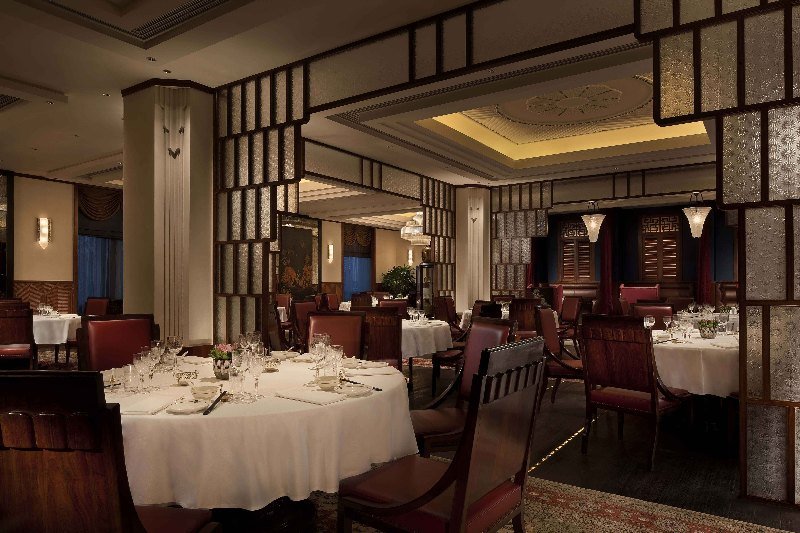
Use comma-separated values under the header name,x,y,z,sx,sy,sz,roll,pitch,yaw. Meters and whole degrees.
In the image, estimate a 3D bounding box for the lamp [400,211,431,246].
name,x,y,z,sx,sy,sz,roll,pitch,yaw
lamp,0.499,-0.927,15.711,0.921,0.908,0.924,3,-5,-27

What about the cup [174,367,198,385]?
name,x,y,z,sx,sy,sz,roll,pitch,yaw
cup,-1.479,0.760,4.118,0.143,0.092,0.147,1,-1,0

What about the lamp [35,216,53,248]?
name,x,y,z,sx,sy,sz,roll,pitch,yaw
lamp,-6.806,-0.659,11.245,0.119,0.591,0.301,-2,-2,18

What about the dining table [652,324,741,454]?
name,x,y,z,sx,sy,sz,roll,pitch,yaw
dining table,2.880,1.123,5.556,1.010,0.785,1.040,-2,-1,27

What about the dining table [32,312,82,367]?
name,x,y,z,sx,sy,sz,roll,pitch,yaw
dining table,-5.179,1.107,8.613,0.649,0.546,0.653,-12,-3,-29

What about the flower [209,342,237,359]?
name,x,y,z,sx,sy,sz,roll,pitch,yaw
flower,-1.276,0.591,4.246,0.136,0.079,0.133,0,-1,12

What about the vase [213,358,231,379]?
name,x,y,z,sx,sy,sz,roll,pitch,yaw
vase,-1.271,0.724,4.217,0.144,0.125,0.133,-1,-4,5

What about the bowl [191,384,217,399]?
name,x,y,z,sx,sy,sz,roll,pitch,yaw
bowl,-1.243,0.796,3.815,0.119,0.053,0.122,2,4,0

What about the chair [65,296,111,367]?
name,x,y,z,sx,sy,sz,roll,pitch,yaw
chair,-4.866,0.973,9.212,0.512,0.951,0.580,2,14,26

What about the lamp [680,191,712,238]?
name,x,y,z,sx,sy,sz,roll,pitch,yaw
lamp,5.347,-0.954,10.574,0.475,0.813,0.501,4,-8,-3

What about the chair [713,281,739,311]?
name,x,y,z,sx,sy,sz,roll,pitch,yaw
chair,4.819,0.430,8.661,0.353,0.353,0.354,5,-7,-30

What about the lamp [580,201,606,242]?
name,x,y,z,sx,sy,sz,roll,pitch,yaw
lamp,3.783,-0.905,11.459,0.463,0.791,0.453,-5,-12,39

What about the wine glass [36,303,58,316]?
name,x,y,z,sx,sy,sz,roll,pitch,yaw
wine glass,-6.004,0.713,9.980,0.240,0.254,0.147,0,3,-16

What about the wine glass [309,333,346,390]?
name,x,y,z,sx,sy,sz,roll,pitch,yaw
wine glass,-0.524,0.691,4.229,0.262,0.490,0.324,-4,-8,34
